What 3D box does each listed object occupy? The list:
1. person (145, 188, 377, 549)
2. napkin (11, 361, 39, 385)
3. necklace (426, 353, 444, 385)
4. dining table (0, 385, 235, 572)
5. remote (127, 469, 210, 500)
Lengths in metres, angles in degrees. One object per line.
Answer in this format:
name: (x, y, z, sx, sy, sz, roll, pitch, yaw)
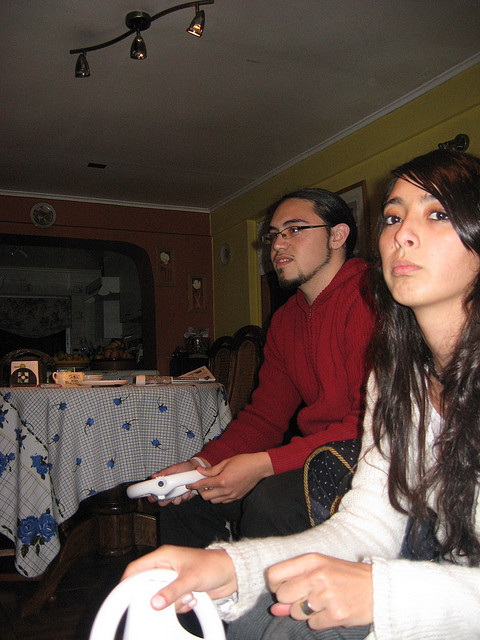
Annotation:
person: (0.093, 0.258, 1.319, 0.638, 1.114, 0.423, -1, -4, -7)
napkin: (-0.977, 0.237, 2.337, 0.117, 0.100, 0.065, -2, -5, -26)
necklace: (0.311, 0.082, 0.820, 0.009, 0.031, 0.025, -9, -16, -23)
dining table: (-0.394, 0.423, 2.033, 0.770, 0.553, 0.785, -4, -9, 30)
remote: (-0.161, 0.366, 1.121, 0.101, 0.036, 0.098, 2, -24, -26)
